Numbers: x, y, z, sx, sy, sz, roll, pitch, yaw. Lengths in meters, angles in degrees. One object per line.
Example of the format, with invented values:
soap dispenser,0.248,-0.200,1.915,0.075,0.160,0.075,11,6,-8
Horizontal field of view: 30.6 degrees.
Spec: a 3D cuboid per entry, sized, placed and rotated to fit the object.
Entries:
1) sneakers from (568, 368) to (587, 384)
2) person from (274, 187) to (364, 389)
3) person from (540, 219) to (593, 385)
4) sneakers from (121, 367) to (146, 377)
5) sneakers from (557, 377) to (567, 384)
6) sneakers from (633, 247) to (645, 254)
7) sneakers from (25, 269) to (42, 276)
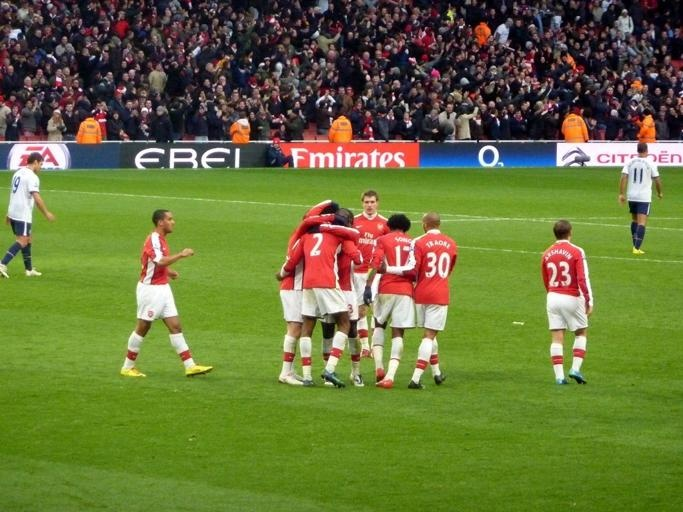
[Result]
sneakers,3.256,1.642,17.025,0.236,0.201,0.325,2,6,11
person,-0.293,0.521,16.871,1.016,2.447,0.610,1,6,5
person,3.088,0.637,17.011,0.662,2.200,0.431,1,6,9
sneakers,-2.806,1.591,17.032,0.371,0.153,0.129,0,6,6
sneakers,3.009,1.695,16.955,0.095,0.052,0.127,1,4,8
sneakers,6.274,-0.095,26.090,0.106,0.117,0.269,20,15,39
sneakers,-5.615,0.316,22.682,0.332,0.138,0.118,0,16,-1
